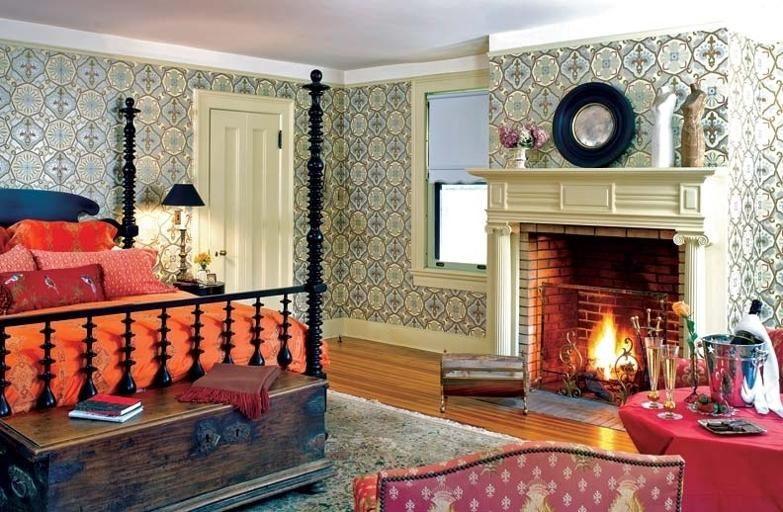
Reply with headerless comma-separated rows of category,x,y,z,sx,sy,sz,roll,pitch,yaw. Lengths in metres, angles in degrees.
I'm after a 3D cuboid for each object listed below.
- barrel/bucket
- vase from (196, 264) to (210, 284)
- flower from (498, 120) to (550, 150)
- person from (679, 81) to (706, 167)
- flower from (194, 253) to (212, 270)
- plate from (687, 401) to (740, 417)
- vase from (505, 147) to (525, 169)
barrel/bucket,1.813,0.643,3.164,0.299,0.339,0.362,11,-12,-43
vase,-2.049,0.195,6.385,0.209,0.245,0.138,1,-2,-29
flower,1.289,-1.158,5.725,0.327,0.191,0.340,-3,5,-44
person,2.496,-1.082,4.837,0.178,0.693,0.266,7,10,42
flower,-2.014,0.043,6.326,0.206,0.192,0.191,-1,2,-18
plate,1.691,0.788,3.070,0.123,0.035,0.118,-1,1,-29
vase,1.231,-0.964,5.813,0.222,0.225,0.214,-1,4,-7
